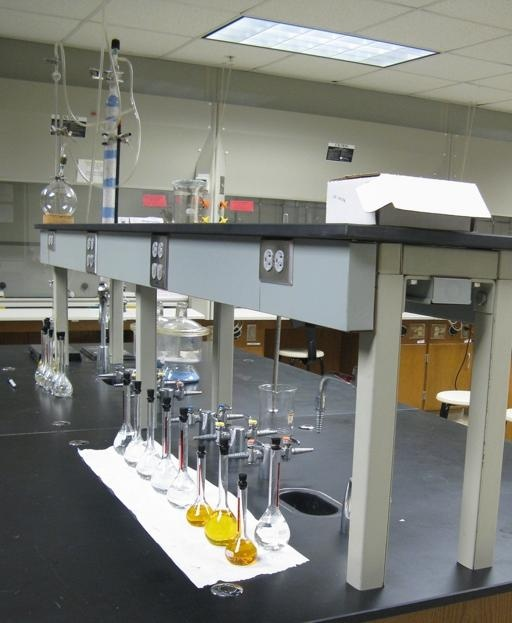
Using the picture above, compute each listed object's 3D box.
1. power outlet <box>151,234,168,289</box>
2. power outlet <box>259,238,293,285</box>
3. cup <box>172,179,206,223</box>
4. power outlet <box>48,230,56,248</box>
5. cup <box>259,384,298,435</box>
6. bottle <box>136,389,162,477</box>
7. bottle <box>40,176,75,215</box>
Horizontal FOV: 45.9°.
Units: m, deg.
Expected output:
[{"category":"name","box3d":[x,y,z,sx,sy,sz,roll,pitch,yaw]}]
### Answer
[{"category":"power outlet","box3d":[-0.228,-0.119,1.416,0.010,0.125,0.095,1,5,-34]},{"category":"power outlet","box3d":[0.030,-0.079,0.924,0.008,0.062,0.065,-1,7,-40]},{"category":"cup","box3d":[-0.222,-0.362,1.984,0.089,0.137,0.094,3,4,0]},{"category":"power outlet","box3d":[-0.890,-0.317,2.631,0.008,0.110,0.065,0,2,-36]},{"category":"cup","box3d":[0.059,0.265,1.714,0.113,0.192,0.110,0,4,0]},{"category":"bottle","box3d":[-0.249,0.295,1.420,0.088,0.217,0.104,2,-13,-11]},{"category":"bottle","box3d":[-0.836,-0.466,2.530,0.118,0.201,0.142,2,3,3]}]
